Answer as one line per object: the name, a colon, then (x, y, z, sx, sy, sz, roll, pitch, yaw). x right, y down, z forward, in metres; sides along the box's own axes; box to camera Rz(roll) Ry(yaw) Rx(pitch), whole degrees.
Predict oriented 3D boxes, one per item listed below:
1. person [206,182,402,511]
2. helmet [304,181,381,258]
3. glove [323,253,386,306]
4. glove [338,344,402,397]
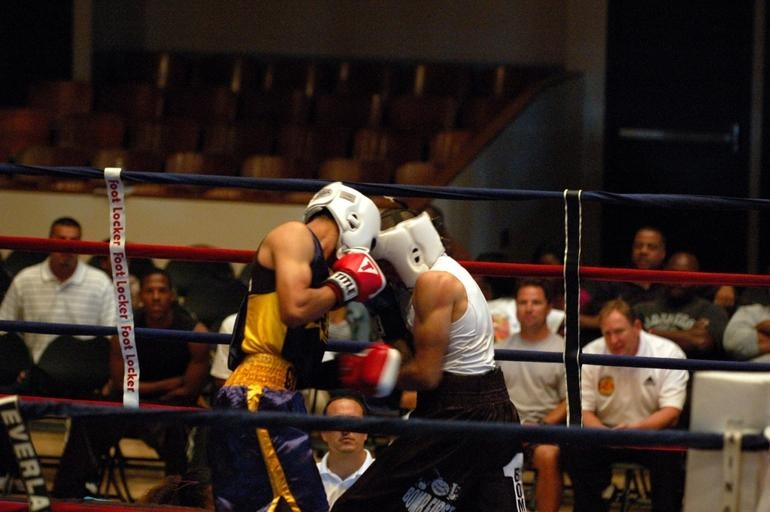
person: (-0.418, 0.439, 5.226, 0.879, 1.615, 0.485, 2, 2, -10)
helmet: (-0.180, -0.222, 5.475, 0.393, 0.355, 0.292, -29, 14, -12)
glove: (-0.155, 0.114, 5.210, 0.296, 0.121, 0.206, -9, 47, -29)
glove: (-0.084, 0.544, 5.164, 0.311, 0.238, 0.206, 2, 2, 4)
